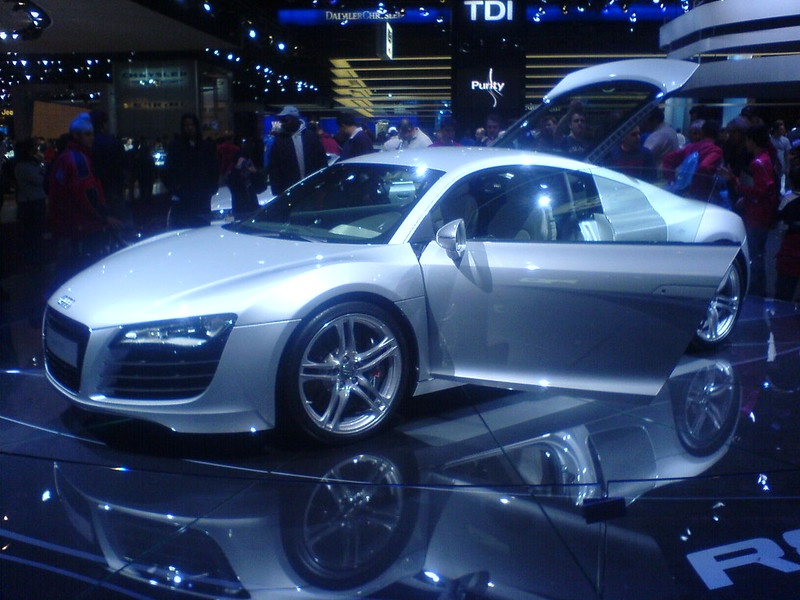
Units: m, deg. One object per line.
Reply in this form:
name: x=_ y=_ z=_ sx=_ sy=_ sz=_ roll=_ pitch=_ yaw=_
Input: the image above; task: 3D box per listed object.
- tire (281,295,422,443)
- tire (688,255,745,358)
tire: x=-0.303 y=0.360 z=3.620 sx=0.555 sy=0.669 sz=0.197 roll=13 pitch=6 yaw=-27
tire: x=2.663 y=0.069 z=5.276 sx=0.235 sy=0.803 sz=0.739 roll=20 pitch=8 yaw=6
